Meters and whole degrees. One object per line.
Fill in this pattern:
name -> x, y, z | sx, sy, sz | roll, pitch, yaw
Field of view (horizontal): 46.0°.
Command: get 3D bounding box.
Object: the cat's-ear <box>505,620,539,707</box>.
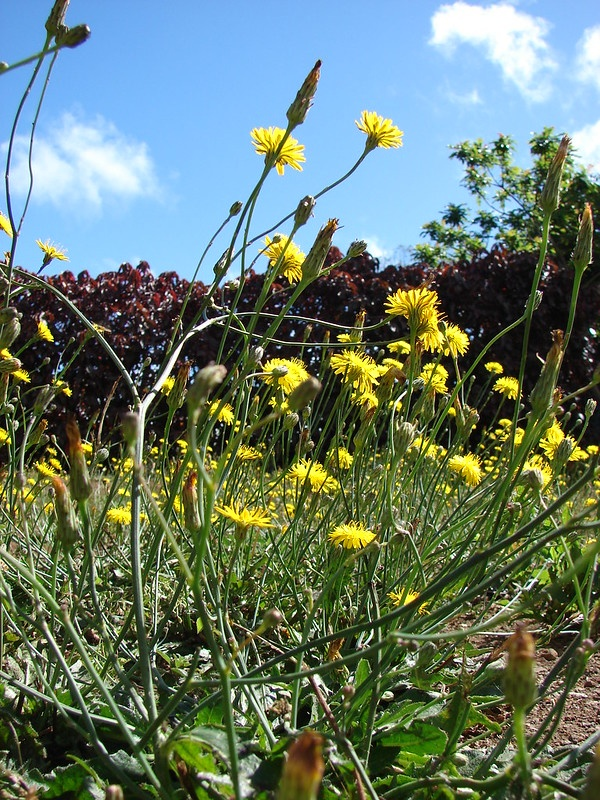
cat's-ear -> 0.229, 0.279, 0.735 | 0.031, 0.074, 0.030 | 0, -8, 17

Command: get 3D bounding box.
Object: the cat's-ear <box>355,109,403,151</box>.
cat's-ear -> 0.218, -0.735, 1.934 | 0.121, 0.103, 0.093 | 9, -6, 2
